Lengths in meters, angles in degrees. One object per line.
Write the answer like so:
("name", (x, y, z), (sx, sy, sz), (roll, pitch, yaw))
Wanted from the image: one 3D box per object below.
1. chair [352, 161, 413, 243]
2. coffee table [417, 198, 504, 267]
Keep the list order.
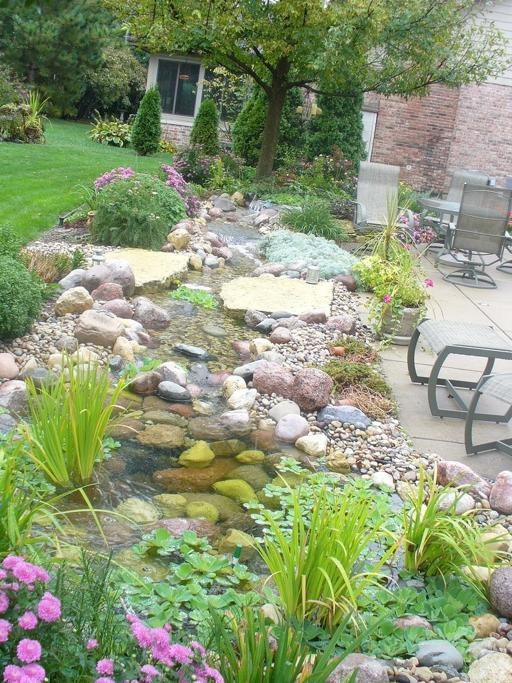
("chair", (1.733, -2.414, 9.119), (1.132, 1.278, 0.863), (-12, 28, -39))
("coffee table", (3.347, -2.040, 9.715), (0.644, 0.730, 0.654), (12, -12, 1))
